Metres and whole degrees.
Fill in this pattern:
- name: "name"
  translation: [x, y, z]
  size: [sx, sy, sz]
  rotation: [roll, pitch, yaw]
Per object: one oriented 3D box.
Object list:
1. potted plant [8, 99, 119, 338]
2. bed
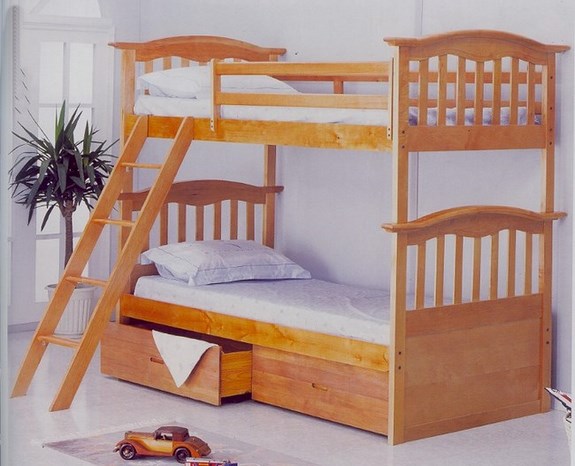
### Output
- name: "potted plant"
  translation: [-1.572, -0.091, 4.990]
  size: [0.853, 1.609, 0.808]
  rotation: [0, -11, -21]
- name: "bed"
  translation: [-0.005, -0.042, 4.089]
  size: [2.518, 1.985, 2.132]
  rotation: [6, 10, 45]
